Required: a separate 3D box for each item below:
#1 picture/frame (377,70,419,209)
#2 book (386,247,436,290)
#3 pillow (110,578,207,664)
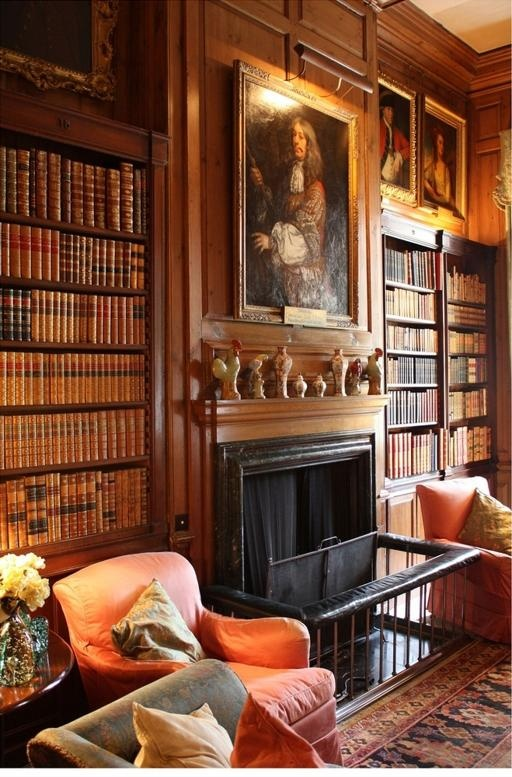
[{"bbox_3d":[1.173,-2.105,4.848,0.085,1.347,1.248,0,6,29],"label":"picture/frame"},{"bbox_3d":[1.296,-1.006,4.835,0.399,0.148,0.397,2,2,42],"label":"book"},{"bbox_3d":[-0.334,0.870,2.102,0.259,0.247,0.405,3,-1,5],"label":"pillow"}]
